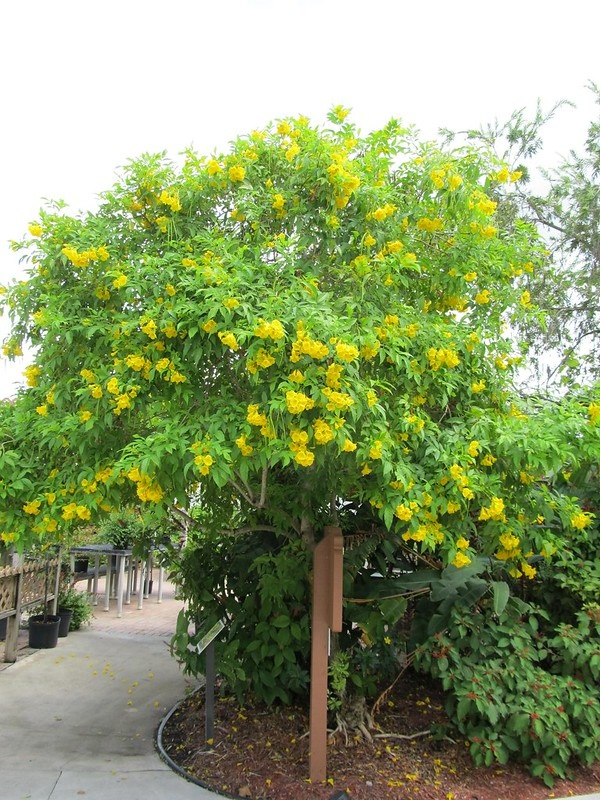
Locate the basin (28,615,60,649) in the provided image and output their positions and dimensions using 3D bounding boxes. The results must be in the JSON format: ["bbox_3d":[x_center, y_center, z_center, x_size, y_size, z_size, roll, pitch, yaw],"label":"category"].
[{"bbox_3d":[-2.932,2.629,6.776,0.374,0.299,0.358,2,-12,0],"label":"basin"}]
